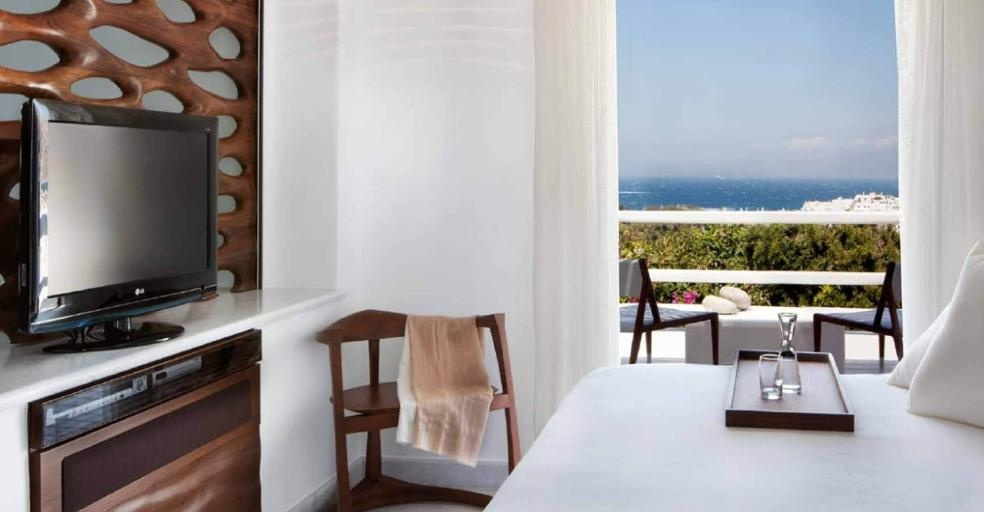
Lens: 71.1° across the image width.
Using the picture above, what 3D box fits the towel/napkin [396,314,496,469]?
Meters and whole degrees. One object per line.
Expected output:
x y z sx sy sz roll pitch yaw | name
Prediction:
-0.259 0.763 4.017 0.672 0.856 0.256 5 -37 -6 | towel/napkin

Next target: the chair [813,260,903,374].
2.787 0.484 5.155 0.628 0.673 0.497 -4 -3 40 | chair
